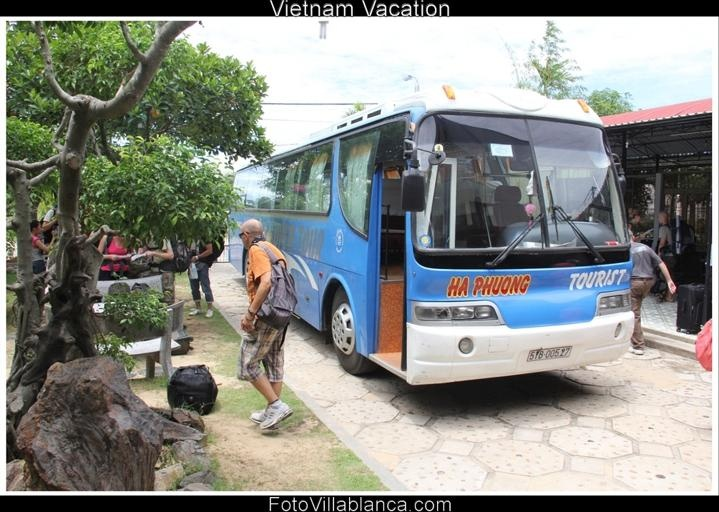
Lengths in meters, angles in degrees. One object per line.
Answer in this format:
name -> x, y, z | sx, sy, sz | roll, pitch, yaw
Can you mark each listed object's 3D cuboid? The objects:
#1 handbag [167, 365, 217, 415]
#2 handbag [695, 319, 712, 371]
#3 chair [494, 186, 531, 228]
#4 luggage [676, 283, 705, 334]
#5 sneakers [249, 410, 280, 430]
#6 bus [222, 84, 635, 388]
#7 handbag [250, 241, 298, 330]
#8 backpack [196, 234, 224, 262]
handbag -> -2.134, 1.771, 6.488 | 0.532, 0.598, 0.665 | 1, 3, -5
handbag -> 3.830, 1.004, 5.390 | 0.163, 0.566, 0.425 | 6, 9, 36
chair -> 1.934, -0.571, 6.131 | 0.427, 0.602, 0.530 | -2, 8, -17
luggage -> 6.551, 1.072, 9.634 | 0.461, 0.922, 0.377 | 5, 9, 32
sneakers -> -1.212, 2.066, 6.163 | 0.181, 0.209, 0.472 | 2, -5, -33
bus -> 0.947, -0.212, 7.713 | 2.856, 4.417, 5.218 | -6, 9, -39
handbag -> -1.016, 0.395, 5.917 | 0.448, 1.092, 0.378 | -1, 8, -12
backpack -> -3.188, -0.172, 10.302 | 0.344, 0.452, 0.443 | 8, 1, -11
